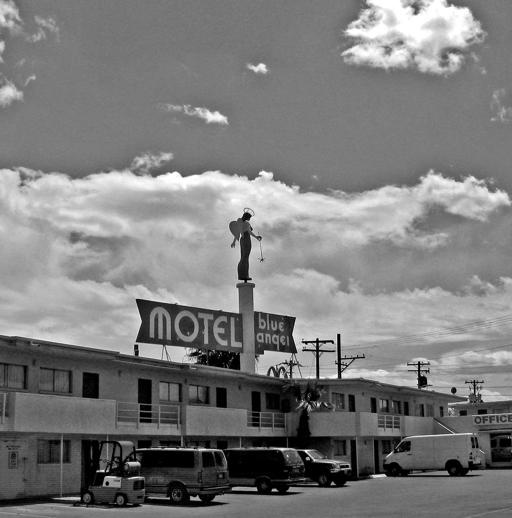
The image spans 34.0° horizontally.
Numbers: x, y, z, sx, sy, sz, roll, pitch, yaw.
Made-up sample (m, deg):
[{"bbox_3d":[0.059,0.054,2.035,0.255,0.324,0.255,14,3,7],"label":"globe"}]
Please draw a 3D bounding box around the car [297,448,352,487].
[{"bbox_3d":[3.167,9.905,40.158,2.584,1.438,1.394,-9,-12,29],"label":"car"}]

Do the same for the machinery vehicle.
[{"bbox_3d":[-5.382,7.863,31.236,2.270,2.339,1.141,-3,-11,21],"label":"machinery vehicle"}]
